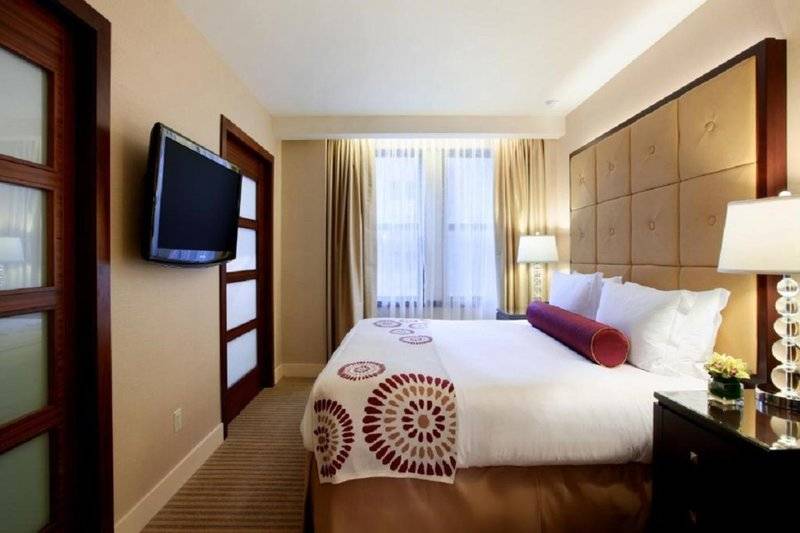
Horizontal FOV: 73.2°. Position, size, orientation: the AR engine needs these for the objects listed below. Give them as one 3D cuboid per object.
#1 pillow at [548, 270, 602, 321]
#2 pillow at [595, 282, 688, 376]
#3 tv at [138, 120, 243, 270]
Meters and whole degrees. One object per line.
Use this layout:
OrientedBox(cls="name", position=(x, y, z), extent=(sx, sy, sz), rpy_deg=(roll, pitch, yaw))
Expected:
OrientedBox(cls="pillow", position=(1.476, 0.231, 4.589), extent=(0.161, 0.368, 0.540), rpy_deg=(-3, 6, -25))
OrientedBox(cls="pillow", position=(1.665, 0.445, 3.669), extent=(0.179, 0.433, 0.546), rpy_deg=(-3, 3, -13))
OrientedBox(cls="tv", position=(-1.508, -0.501, 3.819), extent=(0.125, 0.928, 1.005), rpy_deg=(4, -8, 15))
